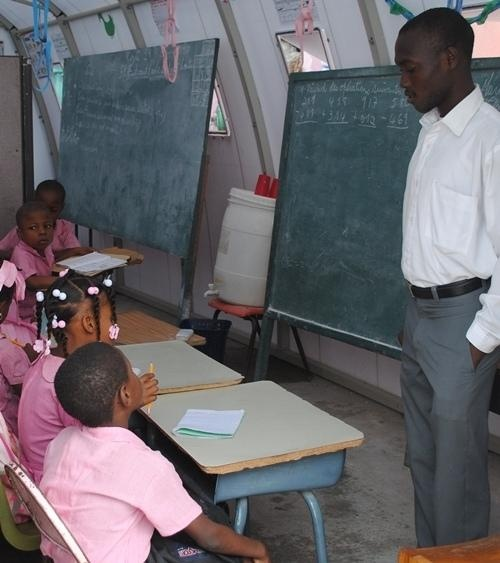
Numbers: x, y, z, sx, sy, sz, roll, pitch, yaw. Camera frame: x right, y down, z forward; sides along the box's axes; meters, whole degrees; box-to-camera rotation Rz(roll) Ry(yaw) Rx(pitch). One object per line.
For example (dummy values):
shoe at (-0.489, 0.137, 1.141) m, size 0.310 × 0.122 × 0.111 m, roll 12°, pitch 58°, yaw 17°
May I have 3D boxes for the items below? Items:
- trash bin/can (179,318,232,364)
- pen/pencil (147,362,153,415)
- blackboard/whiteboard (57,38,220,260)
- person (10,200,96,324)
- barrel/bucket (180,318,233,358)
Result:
trash bin/can at (-0.295, 0.357, 3.689) m, size 0.335 × 0.393 × 0.273 m, roll 1°, pitch 1°, yaw -2°
pen/pencil at (-0.281, 0.308, 1.537) m, size 0.016 × 0.135 × 0.017 m, roll 0°, pitch -3°, yaw 4°
blackboard/whiteboard at (-1.013, -1.177, 4.558) m, size 0.191 × 1.764 × 2.336 m, roll -1°, pitch 8°, yaw -38°
person at (-1.287, 0.090, 3.473) m, size 0.331 × 1.173 × 0.398 m, roll 2°, pitch 13°, yaw 20°
barrel/bucket at (-0.269, 0.340, 3.706) m, size 0.245 × 0.283 × 0.326 m, roll -1°, pitch 7°, yaw -21°
